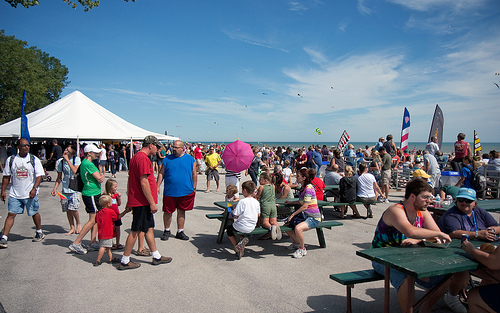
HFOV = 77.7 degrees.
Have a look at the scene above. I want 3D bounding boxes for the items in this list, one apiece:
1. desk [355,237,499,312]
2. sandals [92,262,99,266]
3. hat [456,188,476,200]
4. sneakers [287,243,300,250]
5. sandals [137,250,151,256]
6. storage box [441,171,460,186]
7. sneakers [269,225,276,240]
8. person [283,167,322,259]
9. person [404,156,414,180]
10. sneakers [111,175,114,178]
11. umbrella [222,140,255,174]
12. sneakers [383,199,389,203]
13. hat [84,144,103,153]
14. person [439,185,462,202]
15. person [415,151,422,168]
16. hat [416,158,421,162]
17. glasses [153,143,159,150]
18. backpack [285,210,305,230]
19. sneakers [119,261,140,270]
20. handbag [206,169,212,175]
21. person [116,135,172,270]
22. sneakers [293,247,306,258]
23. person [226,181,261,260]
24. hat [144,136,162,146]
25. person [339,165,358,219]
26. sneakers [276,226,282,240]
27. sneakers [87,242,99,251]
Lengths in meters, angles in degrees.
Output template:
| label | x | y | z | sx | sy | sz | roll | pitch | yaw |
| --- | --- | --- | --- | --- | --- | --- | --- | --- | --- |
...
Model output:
| label | x | y | z | sx | sy | sz | roll | pitch | yaw |
| --- | --- | --- | --- | --- | --- | --- | --- | --- | --- |
| desk | 2.799 | 1.405 | 5.158 | 2.081 | 0.960 | 1.086 | -2 | 7 | -24 |
| sandals | -3.370 | 2.356 | 6.831 | 0.145 | 0.090 | 0.078 | 2 | -2 | -25 |
| hat | 4.081 | 0.705 | 5.838 | 0.286 | 0.223 | 0.211 | 0 | -2 | 31 |
| sneakers | 1.098 | 2.263 | 7.791 | 0.331 | 0.130 | 0.137 | 0 | -4 | -4 |
| sandals | -2.512 | 2.291 | 7.347 | 0.343 | 0.136 | 0.132 | 0 | -2 | -3 |
| storage box | 8.552 | 0.921 | 13.184 | 0.347 | 0.600 | 0.654 | 2 | 0 | 2 |
| sneakers | 0.528 | 1.780 | 7.258 | 0.132 | 0.287 | 0.126 | -3 | -3 | -14 |
| person | 1.275 | 1.361 | 7.668 | 0.743 | 2.115 | 0.723 | 0 | -2 | 38 |
| person | 8.641 | 0.597 | 16.997 | 0.410 | 1.318 | 2.868 | 0 | -2 | 26 |
| sneakers | -8.597 | 1.249 | 19.502 | 0.227 | 0.142 | 0.462 | 1 | -2 | -22 |
| umbrella | -0.436 | 0.005 | 11.181 | 1.126 | 1.153 | 0.540 | 1 | -1 | -5 |
| sneakers | 5.555 | 1.824 | 12.670 | 0.138 | 0.158 | 0.392 | -3 | -10 | 22 |
| hat | -3.963 | -0.215 | 7.879 | 0.348 | 0.126 | 0.222 | -3 | 10 | -35 |
| person | 5.584 | 0.989 | 8.732 | 0.628 | 0.275 | 0.817 | -3 | 4 | 6 |
| person | 8.979 | 0.137 | 16.530 | 0.329 | 1.044 | 0.556 | 1 | -42 | 24 |
| hat | 7.986 | 0.145 | 14.715 | 0.220 | 0.145 | 0.189 | -1 | 2 | 0 |
| glasses | -2.170 | -0.241 | 7.123 | 0.106 | 0.143 | 0.049 | 13 | 23 | 41 |
| backpack | 1.141 | 1.564 | 7.587 | 0.464 | 0.159 | 0.303 | -41 | -20 | 29 |
| sneakers | -2.600 | 2.361 | 6.696 | 0.380 | 0.141 | 0.180 | 0 | 1 | -21 |
| handbag | -1.964 | 0.745 | 14.728 | 0.201 | 0.280 | 0.468 | 2 | -2 | -38 |
| person | -2.370 | 0.981 | 6.847 | 0.895 | 2.929 | 0.554 | 1 | -1 | -7 |
| sneakers | 1.170 | 2.317 | 7.435 | 0.379 | 0.147 | 0.158 | 6 | -15 | -33 |
| person | -0.167 | 1.489 | 7.310 | 0.795 | 1.817 | 0.561 | 1 | -1 | 2 |
| hat | -2.235 | -0.350 | 7.131 | 0.334 | 0.184 | 0.244 | -4 | 9 | -39 |
| person | 3.375 | 1.169 | 10.459 | 0.699 | 1.736 | 0.416 | 1 | -1 | 6 |
| sneakers | 0.666 | 1.794 | 7.312 | 0.128 | 0.302 | 0.133 | -8 | -3 | -27 |
| sneakers | -3.811 | 2.198 | 7.561 | 0.158 | 0.127 | 0.309 | 3 | 3 | 5 |
